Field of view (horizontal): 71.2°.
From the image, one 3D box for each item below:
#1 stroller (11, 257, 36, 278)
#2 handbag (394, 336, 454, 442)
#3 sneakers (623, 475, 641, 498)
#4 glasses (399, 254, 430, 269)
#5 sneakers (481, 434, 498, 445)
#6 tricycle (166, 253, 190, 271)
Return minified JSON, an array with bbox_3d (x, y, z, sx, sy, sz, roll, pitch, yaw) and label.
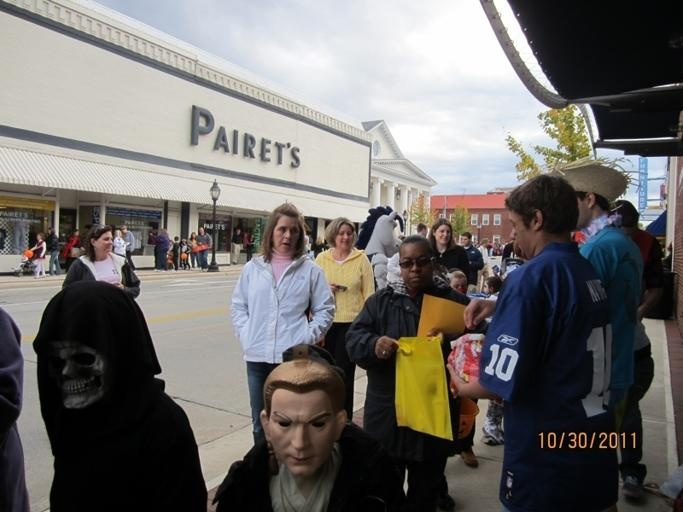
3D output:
[{"bbox_3d":[-13.583,0.490,20.448,0.649,0.700,1.101,-1,0,2],"label":"stroller"},{"bbox_3d":[0.519,0.817,3.041,0.339,0.599,0.190,0,2,7],"label":"handbag"},{"bbox_3d":[2.384,1.889,3.915,0.136,0.154,0.137,1,3,28],"label":"sneakers"},{"bbox_3d":[0.501,0.039,3.241,0.206,0.082,0.071,0,2,10],"label":"glasses"},{"bbox_3d":[1.502,1.839,4.823,0.109,0.042,0.083,10,-4,20],"label":"sneakers"},{"bbox_3d":[-9.100,0.285,26.619,0.920,1.093,0.907,0,7,-6],"label":"tricycle"}]
